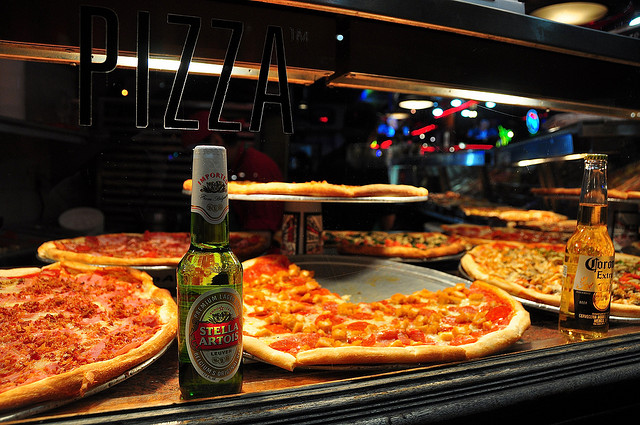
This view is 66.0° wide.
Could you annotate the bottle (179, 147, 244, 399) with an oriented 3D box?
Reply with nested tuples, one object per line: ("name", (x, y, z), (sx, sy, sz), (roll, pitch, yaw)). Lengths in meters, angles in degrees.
("bottle", (-0.384, 0.227, 1.755), (0.229, 0.909, 0.177), (0, 9, -9))

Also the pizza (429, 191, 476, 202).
("pizza", (1.572, -0.180, 5.916), (0.373, 0.060, 0.273), (8, 6, 3))

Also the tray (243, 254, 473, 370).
("tray", (0.225, 0.431, 2.624), (1.213, 0.373, 1.002), (-1, 1, -18))

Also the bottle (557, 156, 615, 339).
("bottle", (1.241, 0.166, 2.262), (0.211, 0.836, 0.239), (6, 10, 30))
